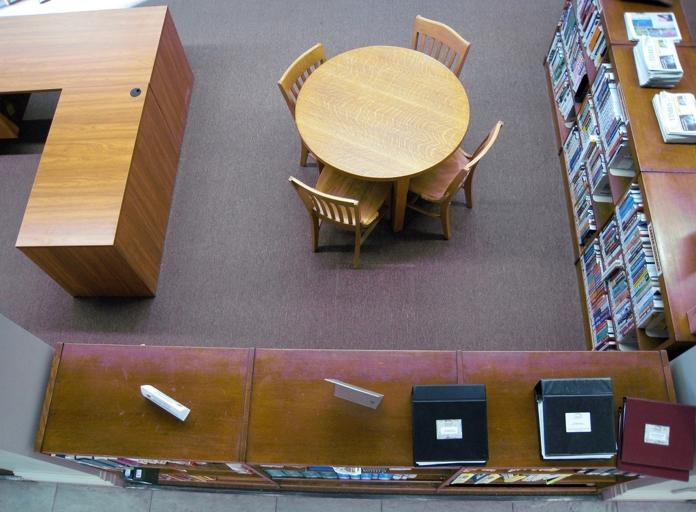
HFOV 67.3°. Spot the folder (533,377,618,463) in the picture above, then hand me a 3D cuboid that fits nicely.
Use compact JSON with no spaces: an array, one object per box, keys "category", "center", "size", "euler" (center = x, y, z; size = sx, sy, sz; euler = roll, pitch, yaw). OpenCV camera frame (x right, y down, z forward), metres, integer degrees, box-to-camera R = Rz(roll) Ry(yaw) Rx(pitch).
[{"category":"folder","center":[1.139,0.809,2.590],"size":[0.366,0.183,0.342],"euler":[0,52,0]}]

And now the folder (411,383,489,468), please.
[{"category":"folder","center":[0.503,0.842,2.584],"size":[0.357,0.202,0.340],"euler":[1,52,1]}]

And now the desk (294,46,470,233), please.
[{"category":"desk","center":[0.271,-0.860,4.121],"size":[1.137,0.813,1.139],"euler":[32,73,13]}]

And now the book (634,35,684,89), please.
[{"category":"book","center":[1.993,-1.258,3.369],"size":[0.275,0.112,0.348],"euler":[2,59,1]}]

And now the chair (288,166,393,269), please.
[{"category":"chair","center":[-0.022,-0.243,3.738],"size":[0.417,0.668,0.477],"euler":[22,75,5]}]

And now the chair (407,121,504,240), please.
[{"category":"chair","center":[0.687,-0.595,3.795],"size":[0.647,0.814,0.609],"euler":[36,63,26]}]
